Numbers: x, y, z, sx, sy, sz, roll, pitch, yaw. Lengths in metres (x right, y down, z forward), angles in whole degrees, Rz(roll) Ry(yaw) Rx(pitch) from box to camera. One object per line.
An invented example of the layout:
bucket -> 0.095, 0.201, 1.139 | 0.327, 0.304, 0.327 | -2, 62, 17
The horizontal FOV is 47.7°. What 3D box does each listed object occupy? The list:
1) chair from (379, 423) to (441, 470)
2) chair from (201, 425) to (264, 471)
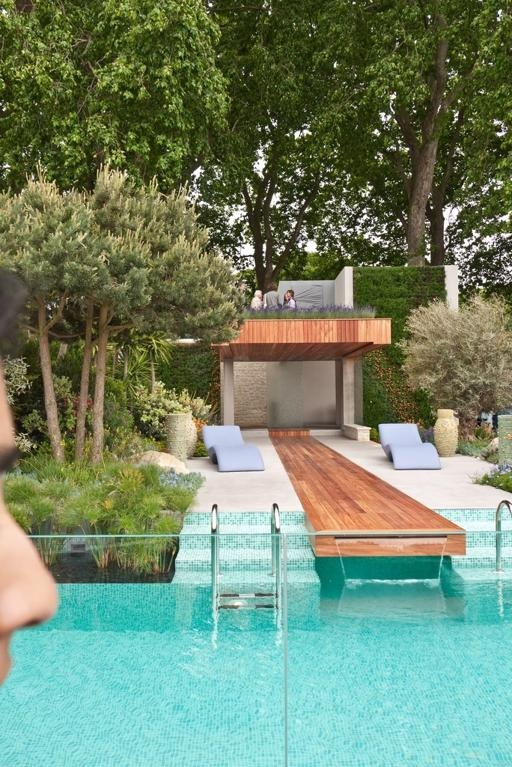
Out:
chair -> 3.109, 1.280, 11.965 | 0.635, 0.708, 1.300 | -1, -4, -4
chair -> -0.531, 1.275, 11.783 | 0.643, 0.656, 1.301 | 0, 0, -13
